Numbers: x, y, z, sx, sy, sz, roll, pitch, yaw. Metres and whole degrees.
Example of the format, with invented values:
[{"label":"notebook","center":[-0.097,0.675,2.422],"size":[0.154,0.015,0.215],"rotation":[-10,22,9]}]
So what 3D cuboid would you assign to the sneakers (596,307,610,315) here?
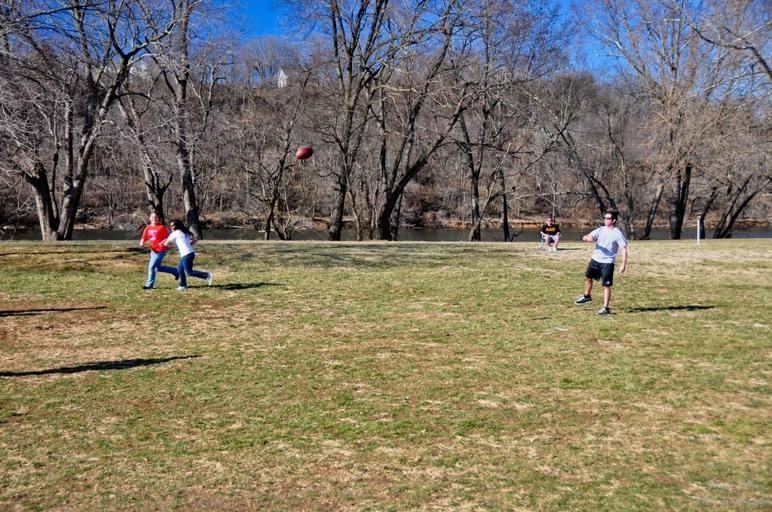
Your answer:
[{"label":"sneakers","center":[5.899,1.505,20.004],"size":[0.436,0.167,0.148],"rotation":[3,-3,-13]}]

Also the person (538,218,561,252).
[{"label":"person","center":[7.090,-0.941,31.919],"size":[0.908,1.419,0.840],"rotation":[-3,6,-6]}]
